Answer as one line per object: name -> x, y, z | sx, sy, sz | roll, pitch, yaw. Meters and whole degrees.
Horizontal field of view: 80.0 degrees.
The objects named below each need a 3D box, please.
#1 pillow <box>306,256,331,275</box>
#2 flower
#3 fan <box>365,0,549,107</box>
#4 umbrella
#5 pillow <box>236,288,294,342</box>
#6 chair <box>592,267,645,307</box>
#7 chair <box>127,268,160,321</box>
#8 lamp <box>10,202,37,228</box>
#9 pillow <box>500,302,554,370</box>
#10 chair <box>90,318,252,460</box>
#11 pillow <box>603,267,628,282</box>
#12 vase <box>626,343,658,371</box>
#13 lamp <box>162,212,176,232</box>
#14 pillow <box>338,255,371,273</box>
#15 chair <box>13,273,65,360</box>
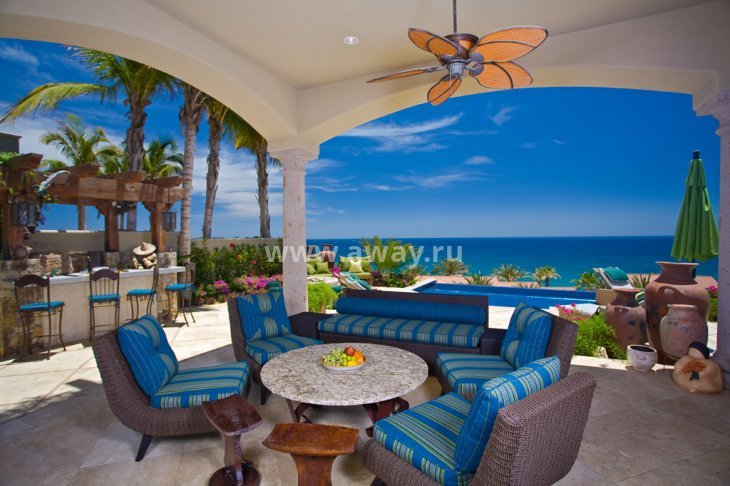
pillow -> -1.423, 0.702, 13.656 | 0.715, 0.526, 1.316 | -1, 0, -5
flower -> -3.207, 0.685, 11.995 | 1.148, 0.501, 1.527 | 10, 15, 37
fan -> 1.158, -2.382, 4.998 | 1.453, 1.213, 1.501 | -1, 0, 8
umbrella -> 5.354, -0.610, 7.059 | 0.575, 1.905, 1.560 | 0, 1, 37
pillow -> -1.448, 1.037, 6.129 | 0.706, 0.606, 0.167 | -5, -15, -47
chair -> 5.378, 0.969, 9.310 | 0.889, 0.534, 1.478 | 1, 6, -10
chair -> -4.208, 0.972, 8.268 | 0.582, 0.998, 1.013 | -1, 1, -27
lamp -> -5.548, -0.452, 7.060 | 0.152, 0.408, 0.435 | -1, -1, 41
pillow -> 1.918, 1.110, 5.112 | 0.196, 0.625, 0.705 | 15, -3, -10
chair -> -2.160, 1.651, 5.259 | 1.611, 1.440, 1.543 | -2, 5, -13
pillow -> 4.588, 0.604, 8.002 | 0.348, 0.152, 0.344 | -5, 1, 2
vase -> 3.965, 1.619, 6.223 | 0.347, 0.258, 0.363 | -1, 0, 35
lamp -> -4.212, -0.465, 9.389 | 0.346, 0.354, 0.350 | 2, 3, 31
pillow -> -0.280, 0.720, 14.369 | 1.064, 0.501, 0.908 | -1, 0, -14
chair -> -5.192, 1.135, 6.980 | 0.648, 1.295, 0.899 | -2, 1, -35
